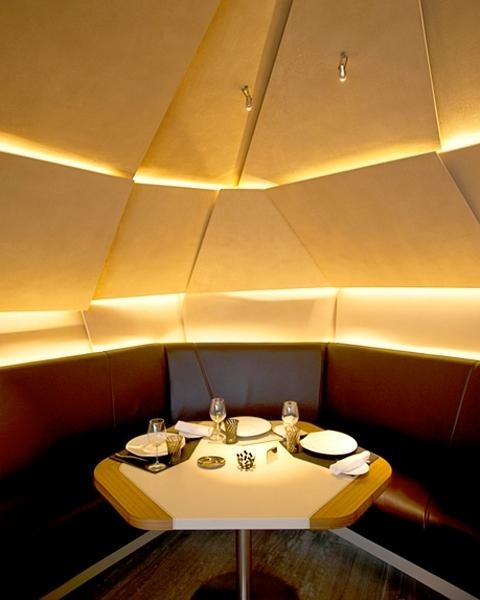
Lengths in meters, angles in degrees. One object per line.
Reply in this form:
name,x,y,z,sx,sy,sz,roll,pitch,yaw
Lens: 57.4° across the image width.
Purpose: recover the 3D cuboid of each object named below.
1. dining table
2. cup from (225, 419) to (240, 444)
dining table,-0.012,0.723,1.618,1.124,0.212,0.679,2,6,12
cup,-0.028,0.582,1.973,0.071,0.109,0.076,0,-17,0
